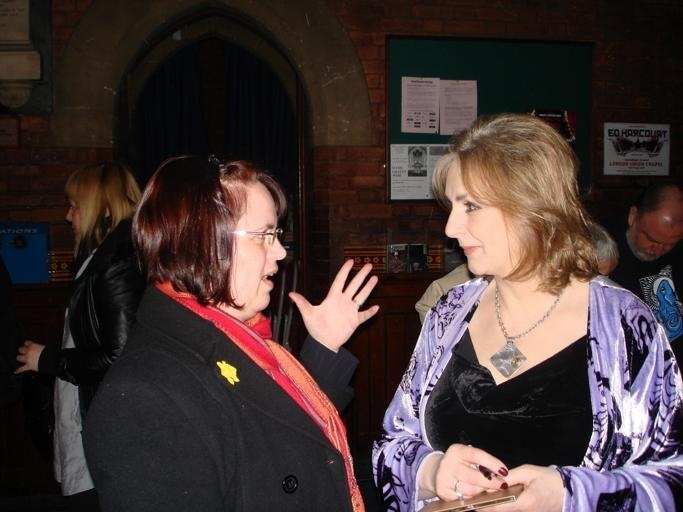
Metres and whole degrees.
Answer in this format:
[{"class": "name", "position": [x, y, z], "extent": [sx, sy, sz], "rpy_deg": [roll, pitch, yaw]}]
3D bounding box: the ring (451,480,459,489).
[{"class": "ring", "position": [0.408, 0.812, 2.250], "extent": [0.008, 0.025, 0.026], "rpy_deg": [9, 2, -4]}]

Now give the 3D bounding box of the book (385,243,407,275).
[{"class": "book", "position": [0.439, 0.014, 4.968], "extent": [0.203, 0.292, 0.192], "rpy_deg": [0, -2, -9]}]
